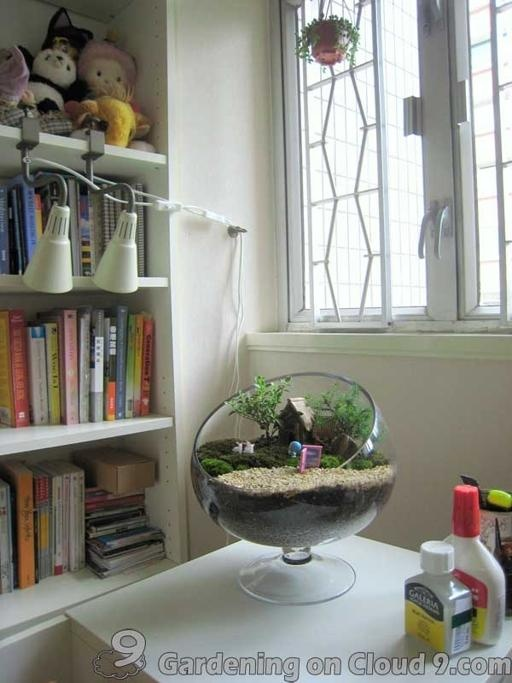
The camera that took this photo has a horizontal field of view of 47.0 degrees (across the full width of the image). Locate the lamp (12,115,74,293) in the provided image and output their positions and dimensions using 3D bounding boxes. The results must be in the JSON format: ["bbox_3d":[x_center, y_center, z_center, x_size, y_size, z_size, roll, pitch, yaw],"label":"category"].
[{"bbox_3d":[-0.362,-0.241,1.005,0.084,0.315,0.404,-4,6,-18],"label":"lamp"}]

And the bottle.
[{"bbox_3d":[0.247,0.267,0.719,0.145,0.187,0.096,-5,6,-27],"label":"bottle"}]

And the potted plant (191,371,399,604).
[{"bbox_3d":[0.068,0.189,0.888,0.294,0.300,0.310,0,0,26],"label":"potted plant"}]
